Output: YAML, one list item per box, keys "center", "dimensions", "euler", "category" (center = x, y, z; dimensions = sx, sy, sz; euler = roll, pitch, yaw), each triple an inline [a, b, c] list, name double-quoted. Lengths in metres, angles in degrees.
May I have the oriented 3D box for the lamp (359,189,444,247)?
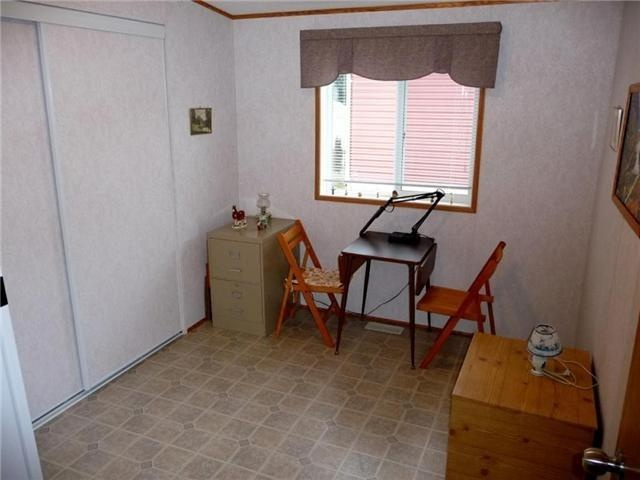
- center: [0.808, -0.198, 4.612]
  dimensions: [0.786, 0.566, 0.185]
  euler: [8, 38, 20]
  category: "lamp"

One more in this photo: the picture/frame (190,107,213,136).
- center: [-1.119, -1.126, 4.573]
  dimensions: [0.031, 0.197, 0.277]
  euler: [11, 22, 25]
  category: "picture/frame"

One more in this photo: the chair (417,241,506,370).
- center: [1.250, 0.538, 4.223]
  dimensions: [0.687, 1.198, 0.730]
  euler: [7, 18, 17]
  category: "chair"
